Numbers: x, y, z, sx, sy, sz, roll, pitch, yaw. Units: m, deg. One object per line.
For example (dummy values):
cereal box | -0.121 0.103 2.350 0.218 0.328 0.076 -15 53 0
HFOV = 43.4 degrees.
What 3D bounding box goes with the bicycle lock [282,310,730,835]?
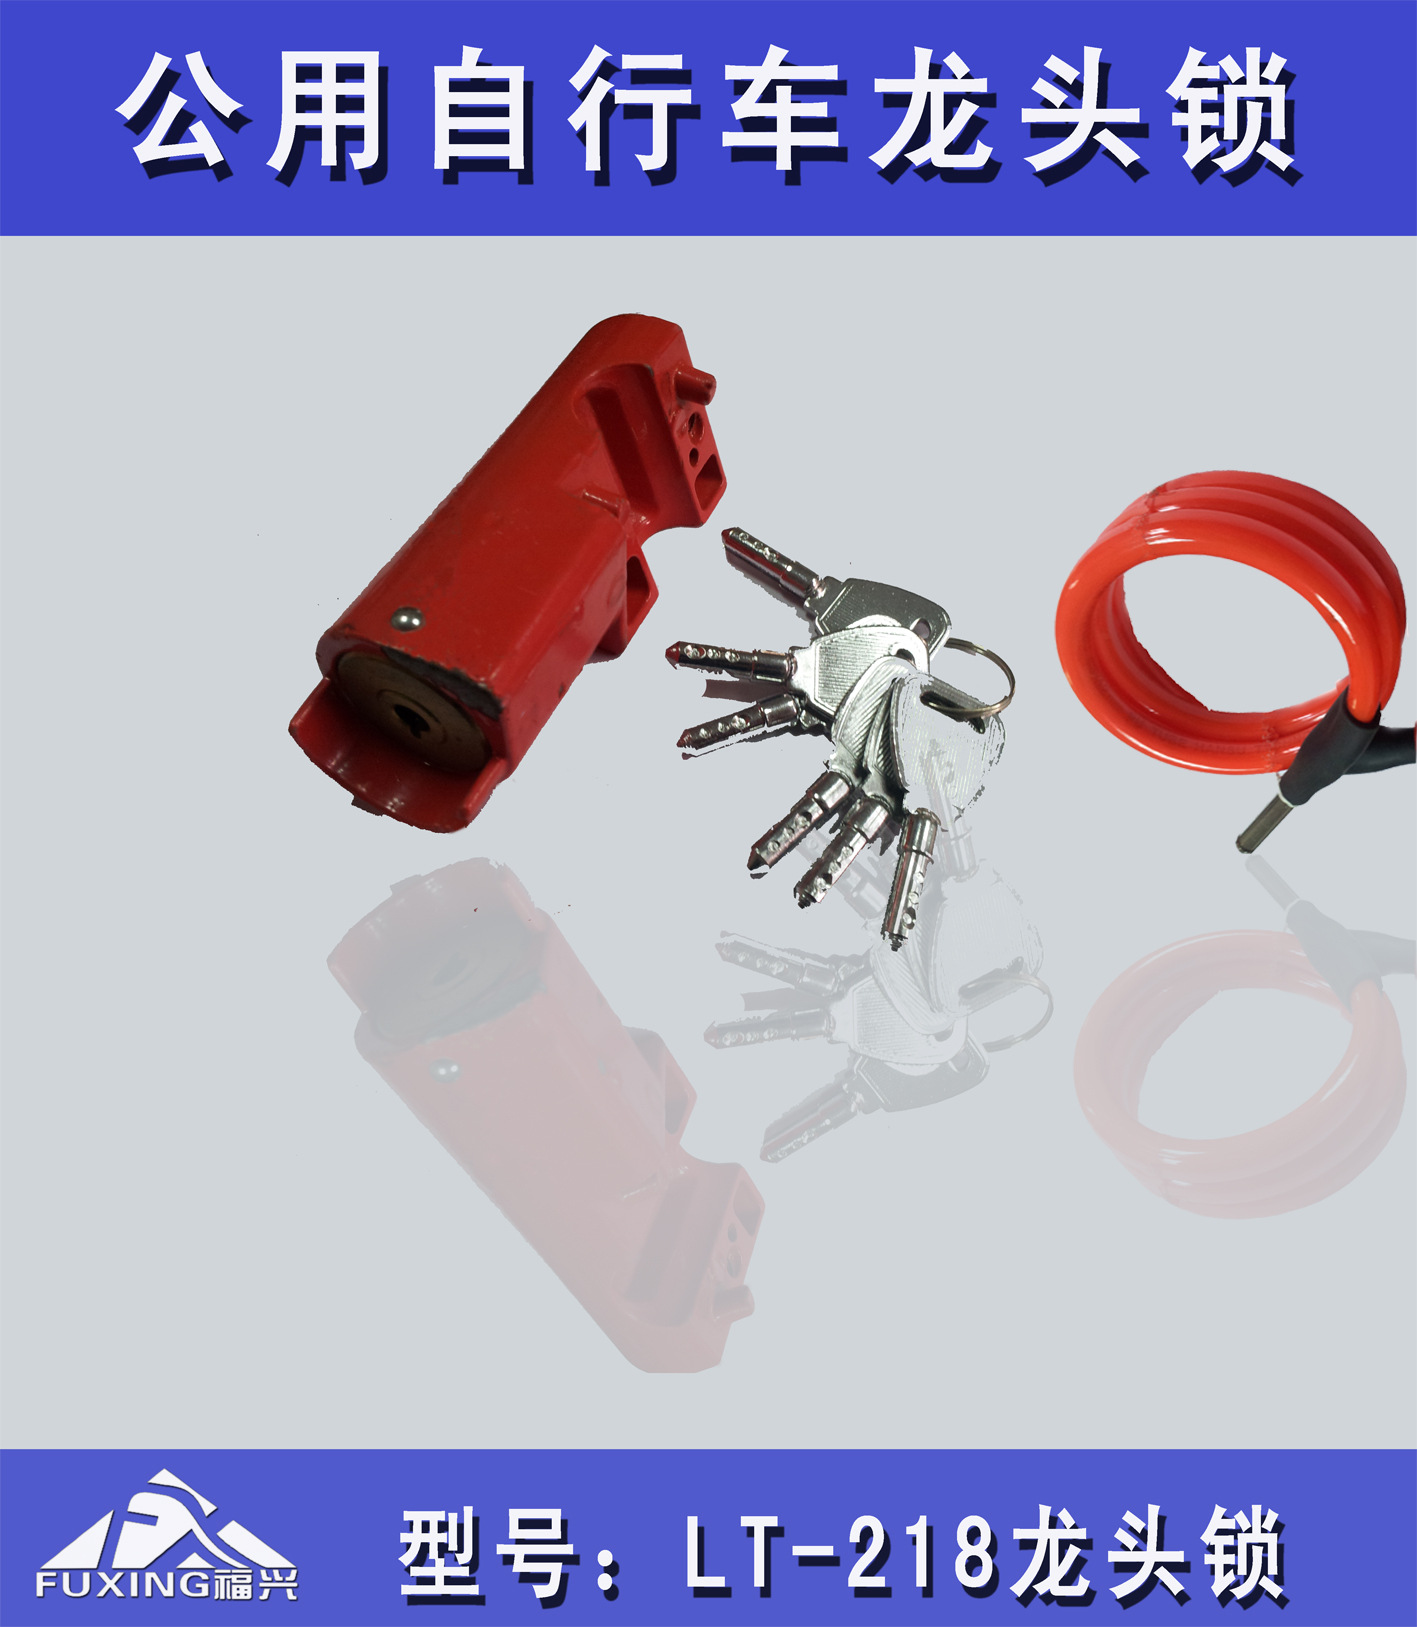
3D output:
bicycle lock | -0.381 -0.418 3.376 0.442 0.263 1.117 22 44 11
